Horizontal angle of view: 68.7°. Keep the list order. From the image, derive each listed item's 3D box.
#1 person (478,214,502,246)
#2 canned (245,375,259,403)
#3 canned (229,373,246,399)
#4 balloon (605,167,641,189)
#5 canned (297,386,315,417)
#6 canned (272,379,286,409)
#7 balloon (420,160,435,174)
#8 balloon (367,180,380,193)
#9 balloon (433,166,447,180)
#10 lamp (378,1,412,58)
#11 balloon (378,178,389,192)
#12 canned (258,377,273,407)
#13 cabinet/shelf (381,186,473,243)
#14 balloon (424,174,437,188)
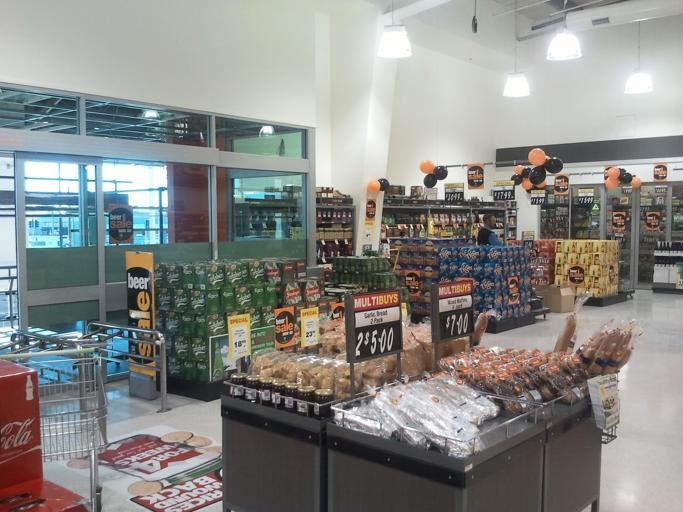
[{"bbox_3d":[3.669,-0.658,12.415,0.466,0.856,0.882,-5,14,-12],"label":"person"},{"bbox_3d":[-0.566,0.853,3.213,0.070,0.141,0.118,-7,7,-38],"label":"canned"},{"bbox_3d":[-0.683,0.850,3.296,0.126,0.145,0.132,1,-3,0],"label":"canned"},{"bbox_3d":[8.108,-2.259,14.478,0.928,0.389,0.920,5,4,-40],"label":"balloon"},{"bbox_3d":[-0.205,0.854,2.961,0.130,0.147,0.080,0,6,23],"label":"canned"},{"bbox_3d":[-0.381,0.850,3.081,0.080,0.136,0.150,-4,6,-17],"label":"canned"},{"bbox_3d":[2.312,-2.352,13.196,0.292,0.355,0.453,1,7,35],"label":"balloon"},{"bbox_3d":[0.703,-1.537,11.005,0.303,0.277,0.287,1,7,31],"label":"balloon"},{"bbox_3d":[2.620,-2.229,13.240,0.310,0.336,0.660,0,6,23],"label":"balloon"},{"bbox_3d":[0.760,-3.122,7.233,0.457,0.655,0.791,-2,6,6],"label":"lamp"},{"bbox_3d":[0.956,-1.600,11.094,0.237,0.253,0.280,21,-16,16],"label":"balloon"},{"bbox_3d":[-0.476,0.851,3.148,0.118,0.185,0.121,0,-3,5],"label":"canned"},{"bbox_3d":[2.338,-1.227,14.279,0.885,1.565,3.993,3,8,45],"label":"cabinet/shelf"},{"bbox_3d":[2.299,-1.938,13.000,0.265,0.372,0.282,16,-2,-21],"label":"balloon"}]
